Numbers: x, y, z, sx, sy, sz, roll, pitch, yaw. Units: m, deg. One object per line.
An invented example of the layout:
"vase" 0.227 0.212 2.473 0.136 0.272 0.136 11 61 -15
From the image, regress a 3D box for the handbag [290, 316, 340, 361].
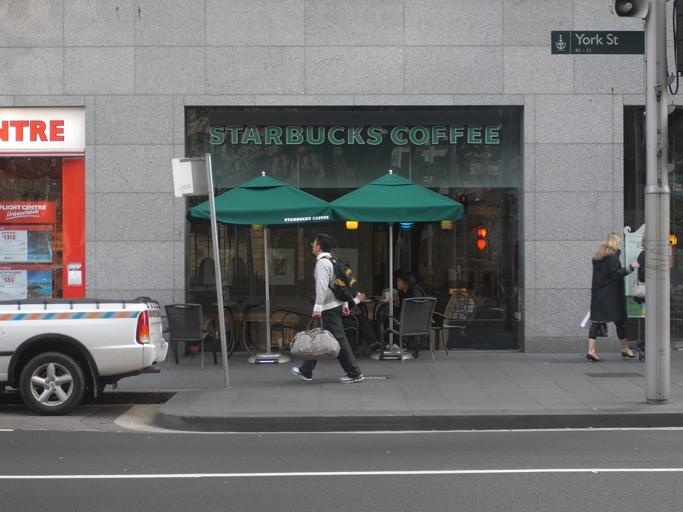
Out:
"handbag" -0.403 1.222 16.438 0.887 0.811 0.461 0 -17 7

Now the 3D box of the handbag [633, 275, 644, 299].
"handbag" 5.525 0.602 18.625 0.242 0.316 0.118 4 -3 4

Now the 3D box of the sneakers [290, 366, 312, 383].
"sneakers" -0.696 1.985 16.757 0.408 0.183 0.164 38 8 10

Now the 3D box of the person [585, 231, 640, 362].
"person" 4.908 0.739 18.393 0.823 2.342 0.572 -1 4 13

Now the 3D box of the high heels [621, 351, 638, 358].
"high heels" 5.387 1.806 18.667 0.360 0.151 0.123 -7 5 -12

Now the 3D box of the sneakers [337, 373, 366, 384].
"sneakers" 0.179 2.016 16.664 0.385 0.177 0.157 3 1 -2

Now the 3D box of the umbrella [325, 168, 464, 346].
"umbrella" 0.899 -0.268 18.955 3.083 3.069 3.008 9 16 30

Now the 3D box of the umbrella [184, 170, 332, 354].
"umbrella" -1.327 -0.404 18.510 2.260 3.001 2.133 -1 4 -12
